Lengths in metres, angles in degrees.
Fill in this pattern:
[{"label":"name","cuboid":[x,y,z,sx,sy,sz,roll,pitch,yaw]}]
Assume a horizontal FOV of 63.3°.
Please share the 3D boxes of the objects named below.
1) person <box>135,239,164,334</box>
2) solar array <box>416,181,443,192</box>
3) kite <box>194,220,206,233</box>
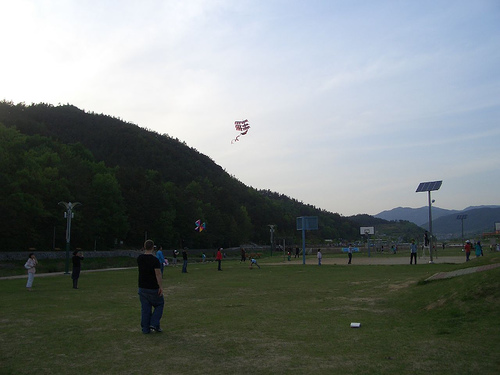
[{"label":"person","cuboid":[-3.095,3.068,12.543,0.765,2.867,0.982,0,-8,-16]},{"label":"solar array","cuboid":[18.942,-0.057,42.764,1.850,1.272,4.122,-4,-9,12]},{"label":"kite","cuboid":[-12.979,9.263,102.990,2.539,2.011,2.640,9,-16,-2]}]
